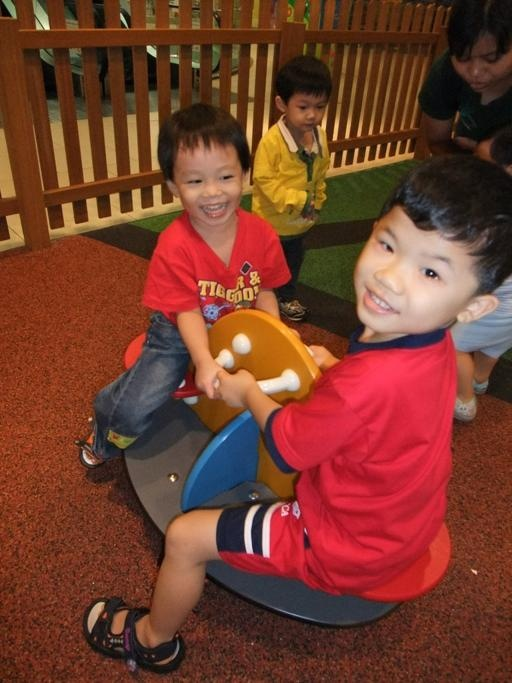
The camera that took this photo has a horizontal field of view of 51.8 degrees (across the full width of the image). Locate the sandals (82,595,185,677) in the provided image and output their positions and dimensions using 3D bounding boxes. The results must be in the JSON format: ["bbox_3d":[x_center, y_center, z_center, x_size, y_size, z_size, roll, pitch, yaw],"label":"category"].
[{"bbox_3d":[-0.234,0.581,1.045,0.191,0.078,0.103,20,48,1],"label":"sandals"}]

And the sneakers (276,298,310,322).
[{"bbox_3d":[0.153,-0.139,2.249,0.135,0.056,0.066,33,40,31],"label":"sneakers"}]

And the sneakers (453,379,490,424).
[{"bbox_3d":[0.737,0.135,1.811,0.104,0.118,0.268,2,68,18],"label":"sneakers"}]
